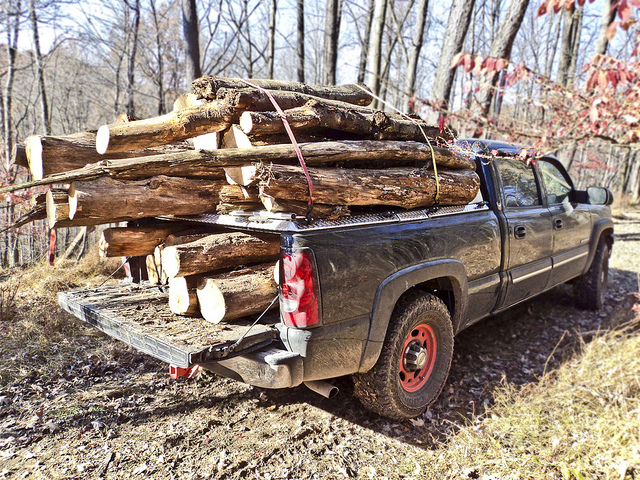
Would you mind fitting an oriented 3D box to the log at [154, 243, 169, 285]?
[{"bbox_3d":[-1.640,0.271,5.172,0.099,0.374,0.340,4,54,-25],"label":"log"}]

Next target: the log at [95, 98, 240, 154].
[{"bbox_3d":[-1.330,-1.030,4.716,1.278,0.325,0.347,-10,-29,9],"label":"log"}]

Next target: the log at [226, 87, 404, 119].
[{"bbox_3d":[-0.173,-1.368,4.925,1.512,0.241,0.417,-6,14,-25],"label":"log"}]

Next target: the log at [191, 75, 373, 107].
[{"bbox_3d":[-0.307,-1.552,5.531,1.946,0.291,0.311,-9,8,-31],"label":"log"}]

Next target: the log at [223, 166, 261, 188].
[{"bbox_3d":[-0.678,-0.570,4.452,0.163,0.187,0.511,-8,15,-30],"label":"log"}]

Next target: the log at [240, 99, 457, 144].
[{"bbox_3d":[0.452,-1.105,5.116,2.610,0.369,0.572,-2,-6,-38],"label":"log"}]

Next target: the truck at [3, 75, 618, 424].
[{"bbox_3d":[0.686,-0.204,5.971,6.345,2.461,3.523,-14,18,-39],"label":"truck"}]

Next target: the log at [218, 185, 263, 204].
[{"bbox_3d":[-0.740,-0.419,4.616,0.330,0.087,0.178,4,11,5],"label":"log"}]

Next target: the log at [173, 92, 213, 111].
[{"bbox_3d":[-1.280,-1.391,5.007,0.299,0.072,0.293,-1,8,-40],"label":"log"}]

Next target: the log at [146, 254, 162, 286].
[{"bbox_3d":[-1.746,0.333,5.287,0.065,0.288,0.285,-4,49,-22],"label":"log"}]

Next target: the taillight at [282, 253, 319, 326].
[{"bbox_3d":[-0.163,0.414,4.122,0.288,0.604,0.150,-1,15,-2],"label":"taillight"}]

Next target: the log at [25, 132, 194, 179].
[{"bbox_3d":[-2.024,-0.851,4.865,1.722,0.494,0.440,-11,19,-15],"label":"log"}]
